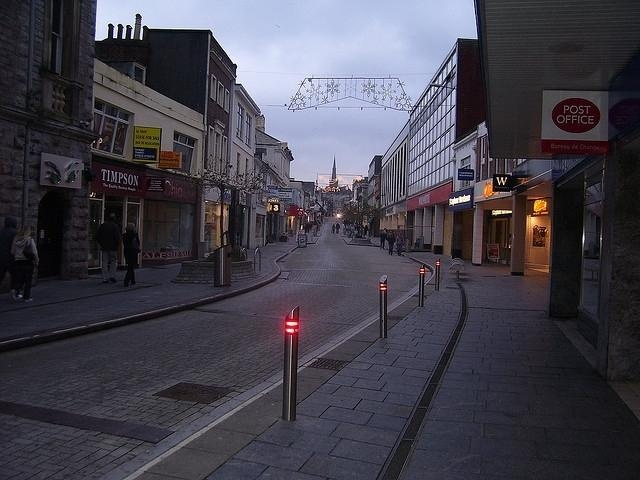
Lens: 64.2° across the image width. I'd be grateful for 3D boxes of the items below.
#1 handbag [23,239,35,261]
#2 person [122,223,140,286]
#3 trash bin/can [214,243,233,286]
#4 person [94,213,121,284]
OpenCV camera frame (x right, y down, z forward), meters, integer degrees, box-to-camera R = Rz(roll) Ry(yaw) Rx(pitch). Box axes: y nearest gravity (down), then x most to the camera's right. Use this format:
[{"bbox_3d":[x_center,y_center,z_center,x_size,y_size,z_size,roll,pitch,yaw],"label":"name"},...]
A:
[{"bbox_3d":[-6.707,0.219,11.775,0.278,0.571,0.132,-2,1,-39],"label":"handbag"},{"bbox_3d":[-5.760,0.414,15.547,0.445,1.896,1.051,-1,1,-22],"label":"person"},{"bbox_3d":[-3.034,0.783,16.225,0.382,1.254,0.540,-1,-2,9],"label":"trash bin/can"},{"bbox_3d":[-6.644,0.215,16.002,0.619,2.201,0.706,-2,1,-36],"label":"person"}]
